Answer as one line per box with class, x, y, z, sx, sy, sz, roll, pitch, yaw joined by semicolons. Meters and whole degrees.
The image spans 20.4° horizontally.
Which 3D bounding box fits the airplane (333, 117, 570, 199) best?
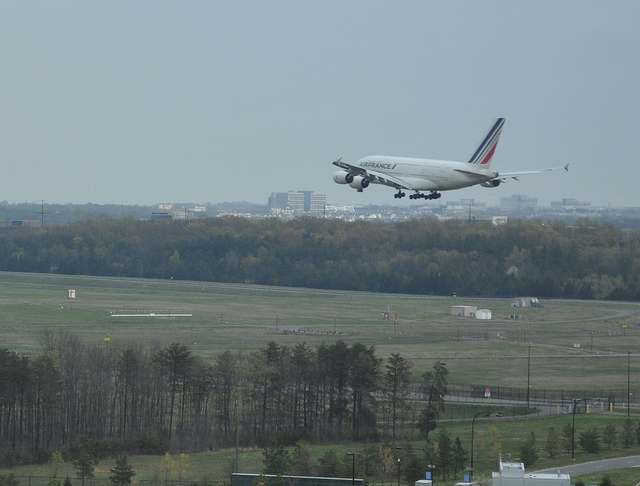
airplane;12.098;-9.239;207.117;19.703;7.387;23.128;2;0;14
